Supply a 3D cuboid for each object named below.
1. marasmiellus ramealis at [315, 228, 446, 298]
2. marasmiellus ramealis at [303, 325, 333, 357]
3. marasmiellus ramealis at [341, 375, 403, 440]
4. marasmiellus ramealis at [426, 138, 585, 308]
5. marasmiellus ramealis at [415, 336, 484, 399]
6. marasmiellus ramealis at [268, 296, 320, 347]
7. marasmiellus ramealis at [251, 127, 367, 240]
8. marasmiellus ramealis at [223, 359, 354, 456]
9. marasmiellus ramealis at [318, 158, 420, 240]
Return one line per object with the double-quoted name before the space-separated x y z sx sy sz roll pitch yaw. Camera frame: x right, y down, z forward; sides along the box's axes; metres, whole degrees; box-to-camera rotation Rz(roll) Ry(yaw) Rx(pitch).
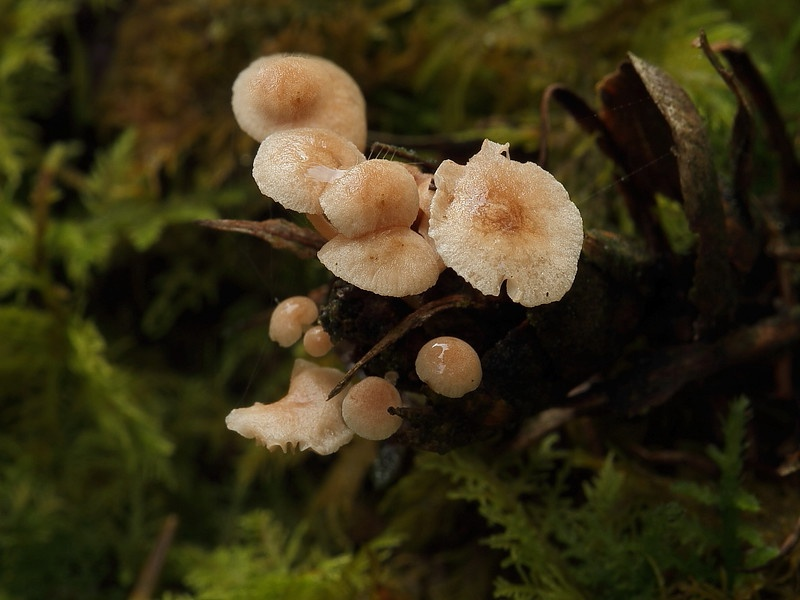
"marasmiellus ramealis" -0.045 -0.089 2.353 0.312 0.114 0.173 -3 82 5
"marasmiellus ramealis" -0.218 0.112 2.513 0.075 0.075 0.097 -3 91 -31
"marasmiellus ramealis" -0.074 0.280 2.394 0.152 0.082 0.159 1 82 6
"marasmiellus ramealis" 0.258 -0.184 2.294 0.422 0.057 0.344 32 86 9
"marasmiellus ramealis" 0.117 0.153 2.358 0.179 0.063 0.197 2 43 -25
"marasmiellus ramealis" -0.282 0.057 2.538 0.135 0.054 0.111 -43 74 -3
"marasmiellus ramealis" -0.250 -0.326 2.477 0.225 0.232 0.253 1 67 -5
"marasmiellus ramealis" -0.260 0.308 2.518 0.311 0.093 0.339 16 43 29
"marasmiellus ramealis" -0.077 -0.248 2.331 0.232 0.058 0.166 -14 81 3
